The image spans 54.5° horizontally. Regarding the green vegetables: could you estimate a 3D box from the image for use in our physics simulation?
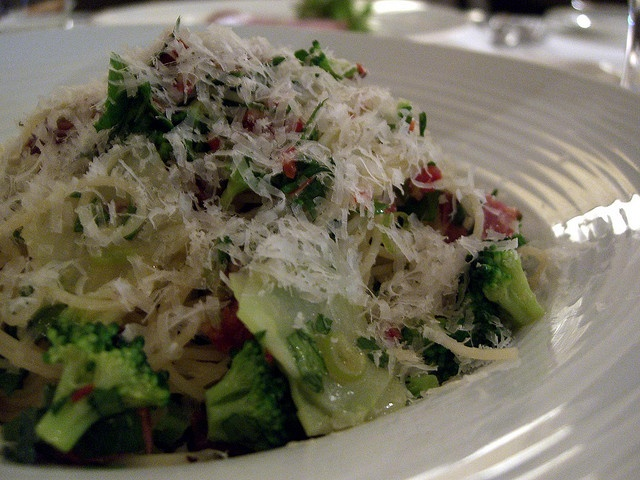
[{"bbox_3d":[-0.493,0.344,1.445,0.286,0.150,0.265,3,55,-1],"label":"green vegetables"}]

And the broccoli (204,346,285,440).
[{"bbox_3d":[-0.152,0.369,1.549,0.127,0.196,0.252,-4,13,-22],"label":"broccoli"}]
